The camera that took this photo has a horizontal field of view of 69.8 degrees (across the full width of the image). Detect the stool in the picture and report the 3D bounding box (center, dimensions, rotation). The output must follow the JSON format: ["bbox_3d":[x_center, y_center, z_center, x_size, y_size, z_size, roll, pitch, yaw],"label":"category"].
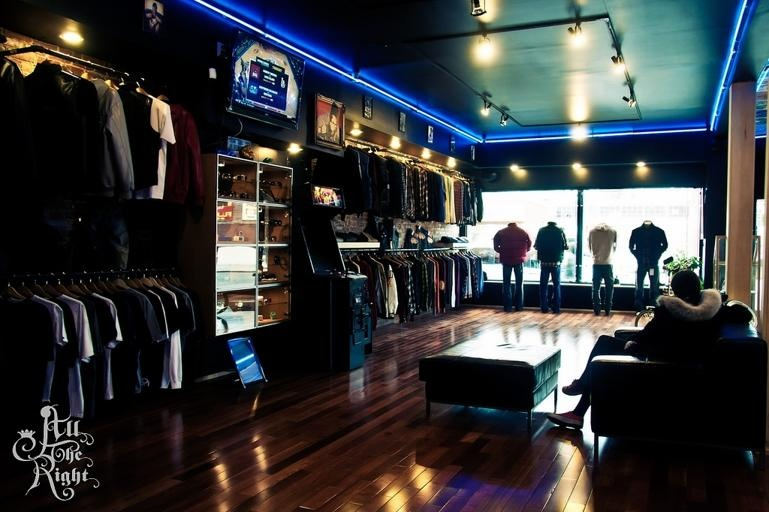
[{"bbox_3d":[1.081,1.227,5.482,0.910,0.531,0.914,-1,0,24],"label":"stool"}]

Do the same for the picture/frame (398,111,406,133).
[{"bbox_3d":[0.260,-2.191,9.012,0.056,0.367,0.406,-1,-2,22],"label":"picture/frame"}]

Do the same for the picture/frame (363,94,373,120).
[{"bbox_3d":[-0.271,-2.193,8.111,0.053,0.383,0.383,2,11,21],"label":"picture/frame"}]

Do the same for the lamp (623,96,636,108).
[{"bbox_3d":[4.013,-2.532,9.038,0.211,0.088,0.287,16,2,43],"label":"lamp"}]

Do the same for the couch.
[{"bbox_3d":[2.606,0.969,4.952,1.095,0.966,1.500,-1,-5,26],"label":"couch"}]

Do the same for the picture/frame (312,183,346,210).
[{"bbox_3d":[-0.757,-0.778,7.252,0.153,0.296,0.617,4,8,25],"label":"picture/frame"}]

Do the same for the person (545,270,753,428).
[{"bbox_3d":[2.406,0.826,5.151,1.744,1.224,0.997,-13,-14,26],"label":"person"}]

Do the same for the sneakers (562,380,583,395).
[{"bbox_3d":[1.881,1.316,5.532,0.101,0.107,0.248,-1,-4,-3],"label":"sneakers"}]

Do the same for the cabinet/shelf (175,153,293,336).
[{"bbox_3d":[-1.728,-0.155,6.498,0.530,2.021,1.411,4,8,28],"label":"cabinet/shelf"}]

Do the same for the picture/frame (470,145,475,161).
[{"bbox_3d":[1.857,-2.202,11.775,0.039,0.366,0.385,-2,1,22],"label":"picture/frame"}]

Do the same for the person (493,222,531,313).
[{"bbox_3d":[2.693,0.236,11.799,0.734,1.906,0.386,3,7,18],"label":"person"}]

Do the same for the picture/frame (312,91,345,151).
[{"bbox_3d":[-0.780,-1.763,7.251,0.091,0.809,0.891,0,-1,30],"label":"picture/frame"}]

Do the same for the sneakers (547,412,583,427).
[{"bbox_3d":[1.710,1.532,5.229,0.327,0.132,0.126,3,-8,22],"label":"sneakers"}]

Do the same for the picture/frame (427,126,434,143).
[{"bbox_3d":[0.801,-2.192,9.924,0.045,0.315,0.318,3,11,21],"label":"picture/frame"}]

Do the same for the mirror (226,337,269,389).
[{"bbox_3d":[-1.622,1.212,6.401,0.157,0.538,0.397,-33,-18,35],"label":"mirror"}]
